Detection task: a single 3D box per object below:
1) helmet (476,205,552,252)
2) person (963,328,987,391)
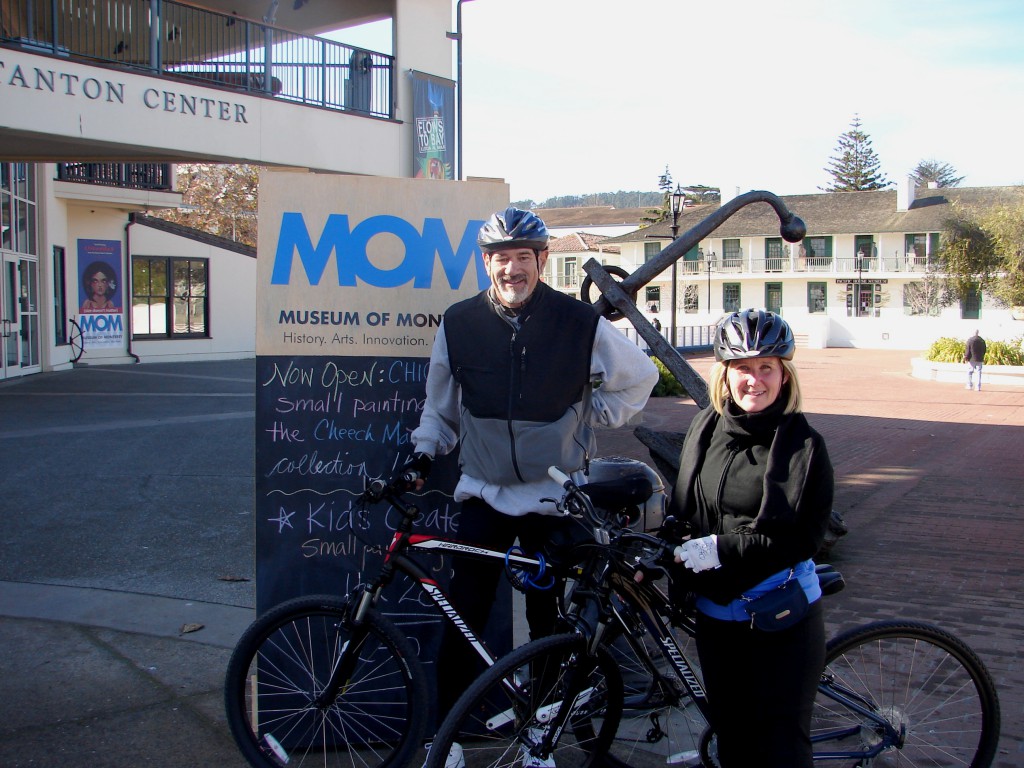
[{"bbox_3d":[0.017,-0.725,4.103,0.322,0.213,0.330,1,7,24],"label":"helmet"},{"bbox_3d":[12.847,-0.629,24.529,0.436,1.646,1.289,2,7,27],"label":"person"}]
